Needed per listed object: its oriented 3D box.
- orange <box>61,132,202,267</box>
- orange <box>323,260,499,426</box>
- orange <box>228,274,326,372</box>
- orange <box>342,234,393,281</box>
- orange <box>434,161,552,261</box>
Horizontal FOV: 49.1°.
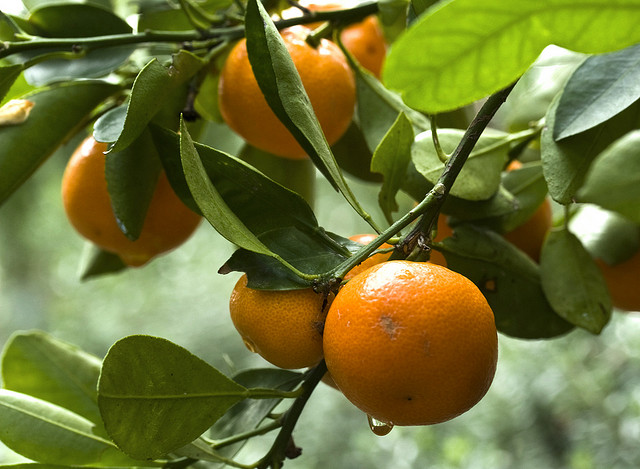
[{"bbox_3d":[-0.220,-0.066,0.806,0.108,0.114,0.176,-9,104,-34],"label":"orange"},{"bbox_3d":[0.087,0.102,0.689,0.174,0.169,0.172,2,93,-14],"label":"orange"},{"bbox_3d":[-0.025,0.088,0.715,0.082,0.084,0.086,29,95,29],"label":"orange"},{"bbox_3d":[0.048,0.025,0.707,0.041,0.043,0.054,3,86,5],"label":"orange"},{"bbox_3d":[0.206,-0.024,0.890,0.128,0.133,0.165,-3,102,-2],"label":"orange"}]
